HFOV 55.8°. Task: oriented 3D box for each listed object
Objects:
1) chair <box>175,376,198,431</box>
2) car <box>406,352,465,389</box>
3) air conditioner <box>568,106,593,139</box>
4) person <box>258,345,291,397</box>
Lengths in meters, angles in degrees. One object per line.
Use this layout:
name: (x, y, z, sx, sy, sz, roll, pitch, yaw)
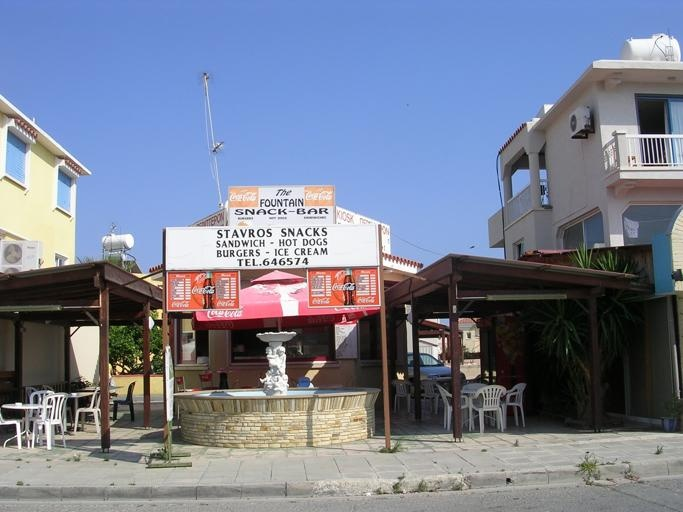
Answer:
chair: (-4.513, 4.206, 19.246, 0.628, 1.268, 0.612, -7, -7, 5)
car: (3.670, 4.382, 25.131, 1.398, 1.306, 2.499, 4, -17, -26)
air conditioner: (7.875, -4.393, 21.126, 0.576, 1.167, 1.153, 3, -6, 1)
person: (-1.474, 2.644, 14.578, 0.546, 1.224, 1.305, -1, 4, -7)
